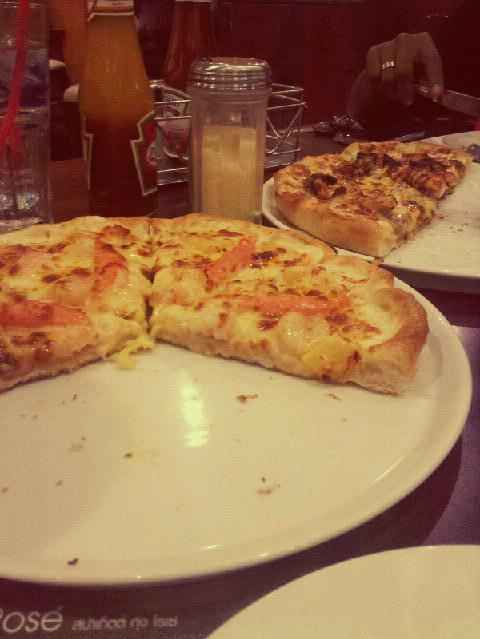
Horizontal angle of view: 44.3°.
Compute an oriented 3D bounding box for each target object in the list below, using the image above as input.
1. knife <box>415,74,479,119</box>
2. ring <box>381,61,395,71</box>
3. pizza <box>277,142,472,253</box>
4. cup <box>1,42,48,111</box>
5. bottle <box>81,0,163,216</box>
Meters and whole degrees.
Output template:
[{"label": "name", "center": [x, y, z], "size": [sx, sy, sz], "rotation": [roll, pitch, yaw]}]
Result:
[{"label": "knife", "center": [0.819, -0.903, 2.384], "size": [0.212, 0.138, 0.630], "rotation": [7, 26, 10]}, {"label": "ring", "center": [0.636, -1.090, 2.527], "size": [0.050, 0.038, 0.094], "rotation": [8, 26, 11]}, {"label": "pizza", "center": [0.317, -0.340, 1.530], "size": [0.438, 0.098, 0.616], "rotation": [16, 35, 30]}, {"label": "cup", "center": [-0.367, -0.405, 0.982], "size": [0.076, 0.107, 0.203], "rotation": [-3, 26, -10]}, {"label": "bottle", "center": [-0.220, -0.373, 1.087], "size": [0.142, 0.383, 0.131], "rotation": [2, 28, -1]}]
